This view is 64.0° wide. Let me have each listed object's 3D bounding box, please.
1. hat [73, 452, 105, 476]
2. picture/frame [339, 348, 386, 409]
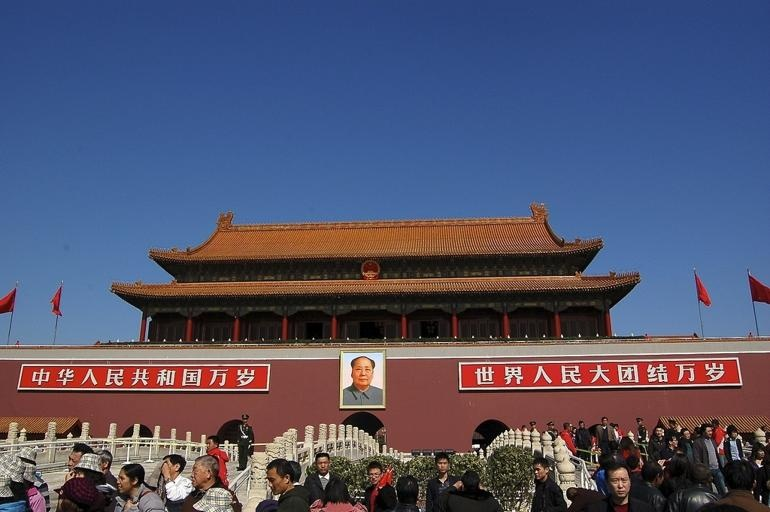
[{"bbox_3d":[-4.048,2.850,8.464,0.299,0.146,0.278,11,-20,-17],"label":"hat"},{"bbox_3d":[-0.931,5.065,25.017,2.372,2.752,0.184,-1,-25,-1],"label":"picture/frame"}]
